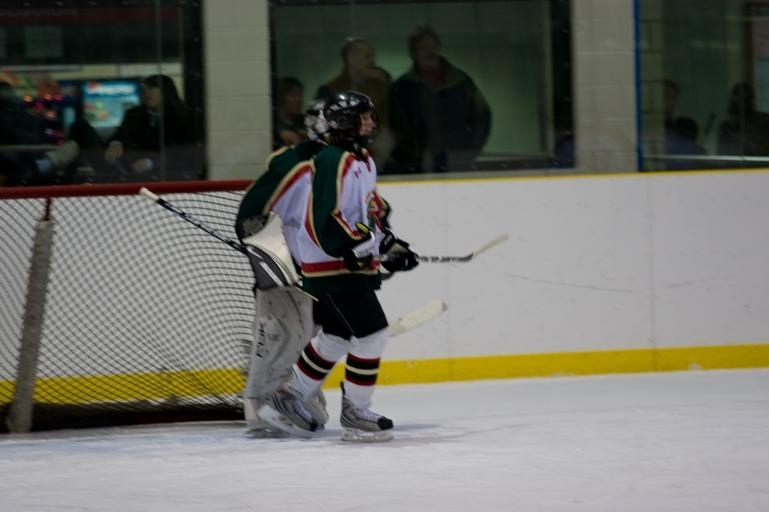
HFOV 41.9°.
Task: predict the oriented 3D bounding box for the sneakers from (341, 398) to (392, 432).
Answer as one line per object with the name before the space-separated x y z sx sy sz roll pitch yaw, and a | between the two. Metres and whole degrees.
sneakers | -0.086 0.922 5.739 0.356 0.221 0.111 -3 -5 36

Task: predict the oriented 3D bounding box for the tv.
tv | -1.988 -1.047 7.002 0.566 0.370 0.012 0 2 4

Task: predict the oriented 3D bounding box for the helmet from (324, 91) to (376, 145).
helmet | -0.206 -0.788 5.792 0.346 0.316 0.268 0 8 18

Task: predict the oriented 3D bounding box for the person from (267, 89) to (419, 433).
person | -0.233 0.057 5.756 0.828 1.968 0.431 0 3 1

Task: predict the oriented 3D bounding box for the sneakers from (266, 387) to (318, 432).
sneakers | -0.546 0.914 5.847 0.414 0.180 0.145 15 39 7

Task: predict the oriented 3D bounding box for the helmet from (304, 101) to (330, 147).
helmet | -0.388 -0.750 5.776 0.175 0.221 0.091 20 25 37
